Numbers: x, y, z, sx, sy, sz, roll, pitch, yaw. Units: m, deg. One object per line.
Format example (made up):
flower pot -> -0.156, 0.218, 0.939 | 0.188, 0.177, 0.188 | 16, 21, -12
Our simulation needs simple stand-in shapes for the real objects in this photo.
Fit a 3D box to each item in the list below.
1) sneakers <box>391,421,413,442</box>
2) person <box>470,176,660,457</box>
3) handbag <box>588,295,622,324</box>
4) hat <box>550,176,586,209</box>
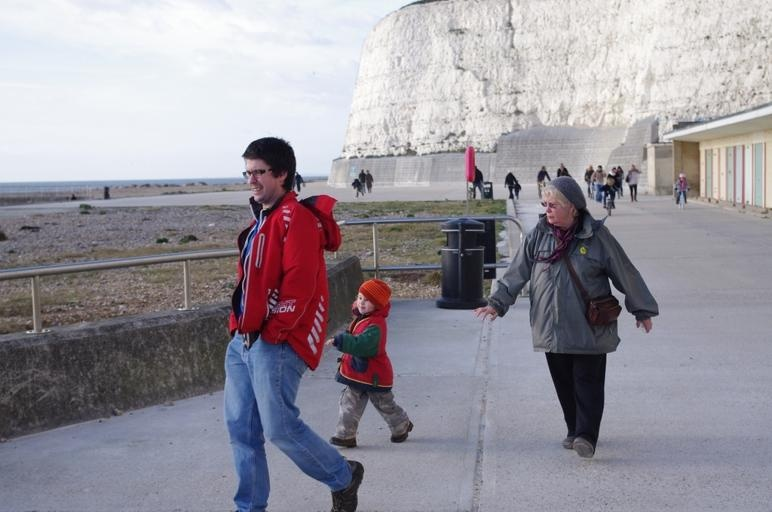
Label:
sneakers -> 0.168, 1.625, 6.196 | 0.101, 0.122, 0.291 | -3, 10, 22
person -> 1.713, 0.521, 5.875 | 1.161, 2.405, 0.660 | 2, 9, 22
handbag -> 1.949, 0.466, 5.791 | 0.339, 0.266, 0.201 | -8, 7, -30
hat -> 1.642, -0.557, 5.919 | 0.320, 0.286, 0.219 | -1, 9, 6
